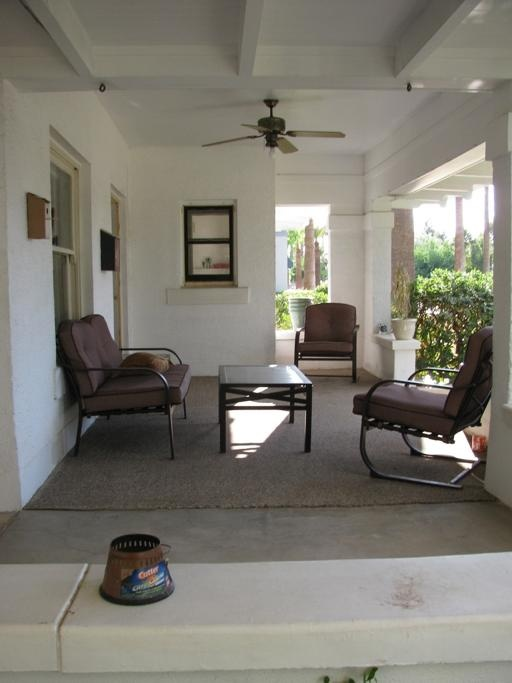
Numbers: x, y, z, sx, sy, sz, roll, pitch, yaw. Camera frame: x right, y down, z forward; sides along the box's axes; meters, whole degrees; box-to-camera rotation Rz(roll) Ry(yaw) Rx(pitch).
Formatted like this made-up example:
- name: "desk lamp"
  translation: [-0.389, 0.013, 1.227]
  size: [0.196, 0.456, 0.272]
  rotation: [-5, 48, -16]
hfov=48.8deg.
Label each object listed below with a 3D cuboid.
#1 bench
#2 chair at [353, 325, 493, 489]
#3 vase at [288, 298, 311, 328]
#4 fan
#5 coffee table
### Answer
- name: "bench"
  translation: [-0.956, 0.224, 4.315]
  size: [0.912, 0.755, 1.438]
  rotation: [0, 4, 0]
- name: "chair"
  translation: [1.125, 0.348, 3.542]
  size: [0.932, 1.027, 0.817]
  rotation: [1, 2, 22]
- name: "vase"
  translation: [0.627, -0.433, 8.609]
  size: [0.427, 0.493, 0.424]
  rotation: [0, 3, -1]
- name: "fan"
  translation: [0.130, -2.118, 5.497]
  size: [0.681, 0.223, 0.675]
  rotation: [-1, 2, -22]
- name: "coffee table"
  translation: [0.052, 0.606, 4.065]
  size: [0.542, 0.423, 0.848]
  rotation: [1, 4, -1]
